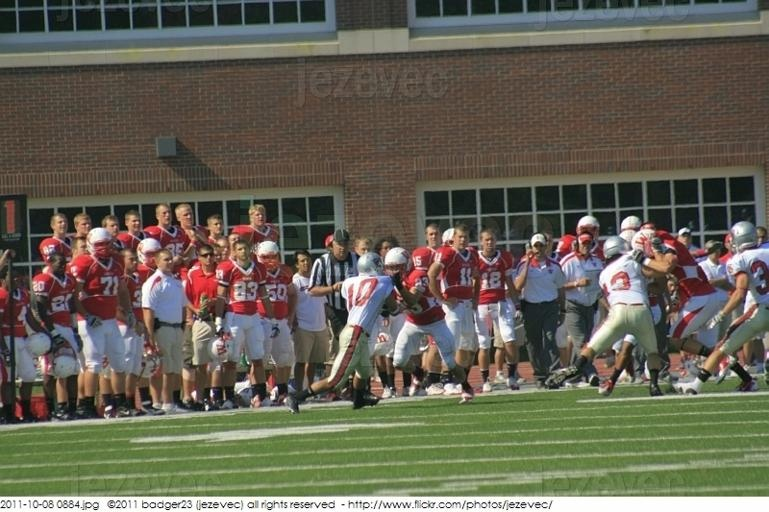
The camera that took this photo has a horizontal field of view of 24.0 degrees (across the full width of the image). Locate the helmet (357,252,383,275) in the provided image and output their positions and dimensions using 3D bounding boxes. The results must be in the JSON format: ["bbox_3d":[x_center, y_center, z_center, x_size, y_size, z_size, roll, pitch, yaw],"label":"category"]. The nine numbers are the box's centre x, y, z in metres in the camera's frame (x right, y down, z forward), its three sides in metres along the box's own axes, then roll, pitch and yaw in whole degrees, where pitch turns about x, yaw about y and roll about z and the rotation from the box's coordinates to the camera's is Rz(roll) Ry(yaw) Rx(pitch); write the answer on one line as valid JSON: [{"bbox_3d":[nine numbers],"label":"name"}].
[{"bbox_3d":[-0.274,-0.003,30.762,0.281,0.329,0.392,9,30,22],"label":"helmet"}]

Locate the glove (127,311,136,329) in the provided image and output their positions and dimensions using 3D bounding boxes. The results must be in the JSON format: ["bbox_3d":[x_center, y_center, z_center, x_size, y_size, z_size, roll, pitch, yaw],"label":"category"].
[{"bbox_3d":[-4.467,0.960,31.695,0.166,0.248,0.079,0,9,30],"label":"glove"}]

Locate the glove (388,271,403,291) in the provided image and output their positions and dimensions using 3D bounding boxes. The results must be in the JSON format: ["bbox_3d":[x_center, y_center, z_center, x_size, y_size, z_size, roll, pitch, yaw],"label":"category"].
[{"bbox_3d":[0.194,0.287,30.981,0.178,0.272,0.061,-6,-11,-40],"label":"glove"}]

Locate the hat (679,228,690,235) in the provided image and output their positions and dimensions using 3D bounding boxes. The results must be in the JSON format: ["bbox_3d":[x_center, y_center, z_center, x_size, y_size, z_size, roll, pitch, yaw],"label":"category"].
[{"bbox_3d":[5.936,-0.620,35.918,0.165,0.133,0.282,-2,5,14],"label":"hat"}]

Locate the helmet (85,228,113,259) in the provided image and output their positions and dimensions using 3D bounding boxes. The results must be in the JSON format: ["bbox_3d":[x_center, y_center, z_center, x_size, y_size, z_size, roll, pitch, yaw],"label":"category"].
[{"bbox_3d":[-4.973,-0.355,31.523,0.368,0.430,0.487,-3,-3,-32],"label":"helmet"}]

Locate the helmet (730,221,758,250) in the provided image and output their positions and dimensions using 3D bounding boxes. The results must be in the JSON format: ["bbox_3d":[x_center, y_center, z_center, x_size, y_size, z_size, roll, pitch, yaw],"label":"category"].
[{"bbox_3d":[6.304,-0.469,31.827,0.482,0.527,0.385,-2,-1,33],"label":"helmet"}]

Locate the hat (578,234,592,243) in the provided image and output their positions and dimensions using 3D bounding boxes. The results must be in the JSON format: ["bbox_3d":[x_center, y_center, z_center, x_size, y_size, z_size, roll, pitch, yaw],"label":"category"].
[{"bbox_3d":[3.689,-0.452,33.494,0.183,0.149,0.312,2,-5,8],"label":"hat"}]

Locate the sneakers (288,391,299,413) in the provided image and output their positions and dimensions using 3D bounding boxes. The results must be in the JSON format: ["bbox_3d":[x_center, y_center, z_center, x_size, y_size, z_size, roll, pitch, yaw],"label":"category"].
[{"bbox_3d":[-1.586,2.308,30.902,0.124,0.399,0.165,1,8,1],"label":"sneakers"}]

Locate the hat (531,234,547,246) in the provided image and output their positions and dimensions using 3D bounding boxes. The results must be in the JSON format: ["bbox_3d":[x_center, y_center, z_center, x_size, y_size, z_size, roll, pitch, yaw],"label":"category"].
[{"bbox_3d":[2.809,-0.428,33.295,0.245,0.210,0.359,-1,-12,6],"label":"hat"}]

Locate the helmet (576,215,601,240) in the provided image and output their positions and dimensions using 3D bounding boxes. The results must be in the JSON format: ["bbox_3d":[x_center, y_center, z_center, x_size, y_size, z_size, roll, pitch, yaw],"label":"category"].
[{"bbox_3d":[3.793,-0.730,33.794,0.427,0.568,0.559,1,-15,5],"label":"helmet"}]

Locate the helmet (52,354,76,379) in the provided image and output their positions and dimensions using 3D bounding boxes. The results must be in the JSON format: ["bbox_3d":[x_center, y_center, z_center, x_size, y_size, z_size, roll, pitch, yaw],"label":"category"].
[{"bbox_3d":[-5.587,1.758,31.418,0.298,0.405,0.375,4,-6,-19],"label":"helmet"}]

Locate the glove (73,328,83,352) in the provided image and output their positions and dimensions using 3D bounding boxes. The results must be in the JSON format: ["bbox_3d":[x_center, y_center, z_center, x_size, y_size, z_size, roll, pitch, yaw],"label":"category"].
[{"bbox_3d":[-5.450,1.292,31.974,0.151,0.437,0.554,-2,-4,-9],"label":"glove"}]

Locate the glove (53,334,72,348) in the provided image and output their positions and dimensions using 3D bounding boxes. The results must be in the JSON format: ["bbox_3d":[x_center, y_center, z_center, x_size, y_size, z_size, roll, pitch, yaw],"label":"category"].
[{"bbox_3d":[-5.655,1.310,31.521,0.325,0.226,0.077,-1,-4,-28],"label":"glove"}]

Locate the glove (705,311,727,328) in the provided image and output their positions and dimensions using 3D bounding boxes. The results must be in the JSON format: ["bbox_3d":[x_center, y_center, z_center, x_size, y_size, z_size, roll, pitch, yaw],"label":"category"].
[{"bbox_3d":[5.886,0.970,32.181,0.300,0.278,0.915,-4,-4,10],"label":"glove"}]

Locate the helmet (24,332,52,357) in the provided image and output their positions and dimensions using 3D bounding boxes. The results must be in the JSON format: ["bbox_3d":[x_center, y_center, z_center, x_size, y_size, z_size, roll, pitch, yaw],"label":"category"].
[{"bbox_3d":[-6.067,1.395,31.432,0.368,0.329,0.410,-27,12,40],"label":"helmet"}]

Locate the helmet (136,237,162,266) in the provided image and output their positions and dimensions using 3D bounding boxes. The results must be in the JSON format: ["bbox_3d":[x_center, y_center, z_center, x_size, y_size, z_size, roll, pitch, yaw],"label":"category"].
[{"bbox_3d":[-4.278,-0.226,32.226,0.351,0.422,0.455,1,-6,-44],"label":"helmet"}]

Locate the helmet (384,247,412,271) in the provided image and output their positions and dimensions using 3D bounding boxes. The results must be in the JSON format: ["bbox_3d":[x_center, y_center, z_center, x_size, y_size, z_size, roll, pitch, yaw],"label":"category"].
[{"bbox_3d":[0.205,-0.097,31.224,0.289,0.353,0.414,8,31,27],"label":"helmet"}]
